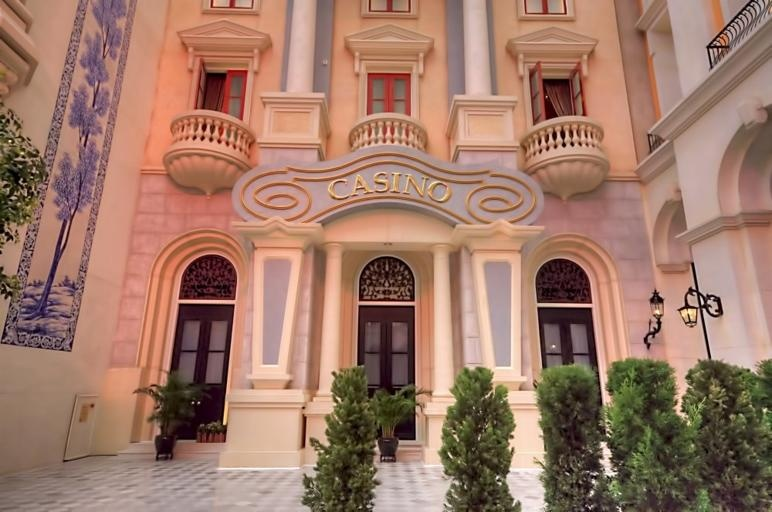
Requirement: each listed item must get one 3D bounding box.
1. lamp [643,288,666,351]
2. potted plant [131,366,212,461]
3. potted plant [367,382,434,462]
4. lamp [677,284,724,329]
[{"bbox_3d":[5.824,1.351,10.706,0.575,1.298,0.538,0,-8,-1],"label":"lamp"},{"bbox_3d":[-4.434,3.199,10.210,1.295,1.688,1.116,4,-9,-27],"label":"potted plant"},{"bbox_3d":[0.336,3.306,10.153,1.076,1.392,1.576,-1,-7,7],"label":"potted plant"},{"bbox_3d":[6.053,0.991,9.652,0.802,0.737,0.334,1,-16,-5],"label":"lamp"}]
